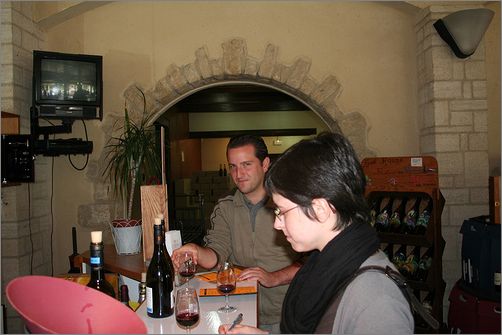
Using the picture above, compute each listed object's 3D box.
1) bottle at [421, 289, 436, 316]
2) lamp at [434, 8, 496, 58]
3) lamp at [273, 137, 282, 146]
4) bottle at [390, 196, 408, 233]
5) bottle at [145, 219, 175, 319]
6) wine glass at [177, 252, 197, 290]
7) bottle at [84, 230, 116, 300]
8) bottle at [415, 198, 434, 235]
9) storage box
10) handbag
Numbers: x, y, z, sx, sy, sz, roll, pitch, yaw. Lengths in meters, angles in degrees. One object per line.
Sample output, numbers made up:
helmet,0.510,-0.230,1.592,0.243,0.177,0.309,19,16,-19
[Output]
bottle,1.735,1.314,3.567,0.057,0.195,0.111,7,-13,-16
lamp,2.169,-1.379,3.741,0.280,0.426,0.509,0,-3,-27
lamp,0.700,-0.672,9.716,0.191,0.394,0.203,2,-4,-4
bottle,1.503,0.487,3.713,0.128,0.144,0.522,17,44,19
bottle,-0.540,0.609,2.167,0.155,0.536,0.105,0,-2,-17
wine glass,-0.438,0.682,2.471,0.111,0.234,0.233,0,-3,-12
bottle,-0.835,0.552,2.027,0.146,0.400,0.444,0,-3,-22
bottle,1.696,0.477,3.569,0.162,0.334,0.271,-3,-3,36
storage box,-0.993,0.746,8.091,1.158,0.810,1.232,-1,4,4
handbag,0.648,0.604,1.743,0.438,0.274,0.108,-1,-2,9
